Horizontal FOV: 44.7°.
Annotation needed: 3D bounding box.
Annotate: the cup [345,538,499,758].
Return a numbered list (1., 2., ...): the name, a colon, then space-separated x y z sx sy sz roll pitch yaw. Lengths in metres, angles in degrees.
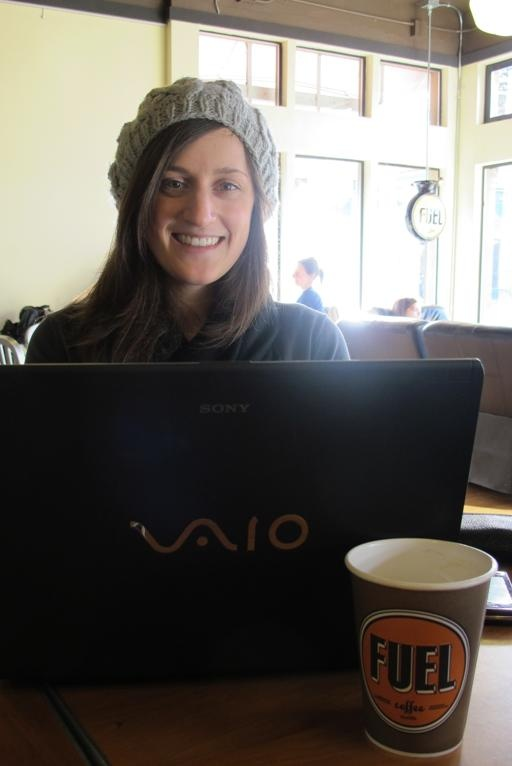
1. cup: 0.115 0.188 0.438 0.099 0.132 0.111 0 1 22

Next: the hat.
1. hat: -0.116 -0.366 1.168 0.248 0.281 0.126 6 49 -3

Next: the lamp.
1. lamp: 2.030 -3.084 7.463 0.428 2.784 1.057 0 0 16
